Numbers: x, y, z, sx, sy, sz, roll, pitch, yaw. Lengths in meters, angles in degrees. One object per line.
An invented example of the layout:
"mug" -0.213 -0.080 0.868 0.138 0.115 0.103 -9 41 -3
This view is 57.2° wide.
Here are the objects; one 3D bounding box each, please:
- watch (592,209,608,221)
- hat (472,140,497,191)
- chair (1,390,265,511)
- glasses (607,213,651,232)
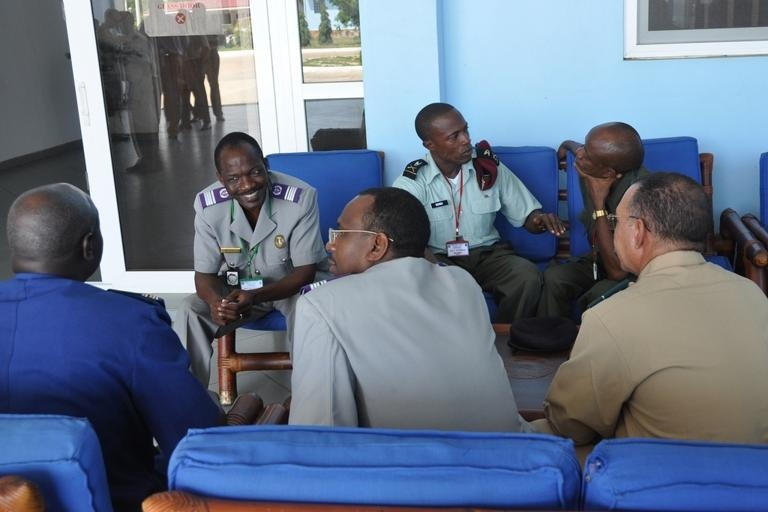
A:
"watch" 1.006 -0.182 3.290 0.056 0.039 0.058 5 -17 -16
"hat" 0.528 -0.470 3.702 0.140 0.233 0.083 10 -6 -19
"chair" -0.659 0.494 1.787 0.279 0.257 0.266 5 20 3
"glasses" 0.784 -0.107 2.254 0.110 0.035 0.114 8 9 38
